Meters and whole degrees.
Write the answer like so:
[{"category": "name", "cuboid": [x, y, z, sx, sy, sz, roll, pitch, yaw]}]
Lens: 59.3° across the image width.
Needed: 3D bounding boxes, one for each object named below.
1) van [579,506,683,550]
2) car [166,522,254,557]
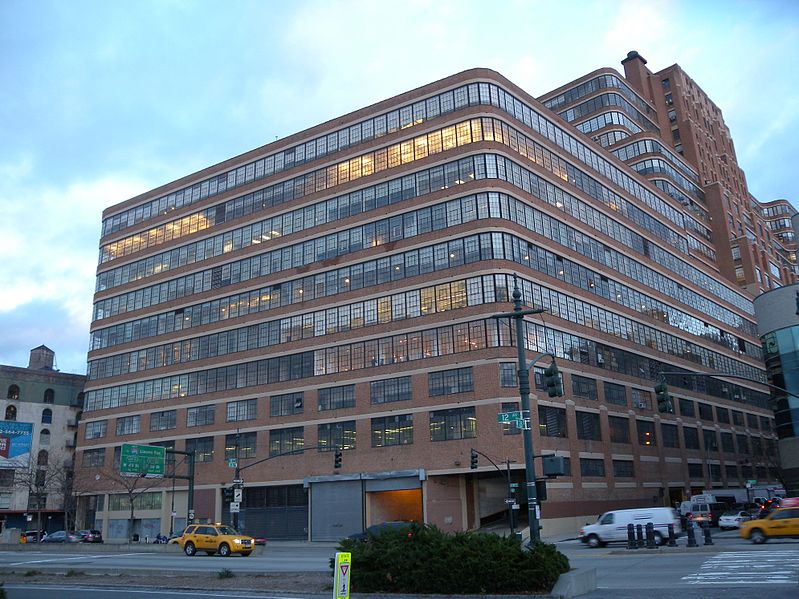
[{"category": "van", "cuboid": [15.168, 15.006, 46.140, 6.203, 2.030, 2.910, -10, -26, 28]}, {"category": "car", "cuboid": [-12.942, 16.959, 49.444, 5.612, 2.271, 1.635, -13, -24, 26]}]
